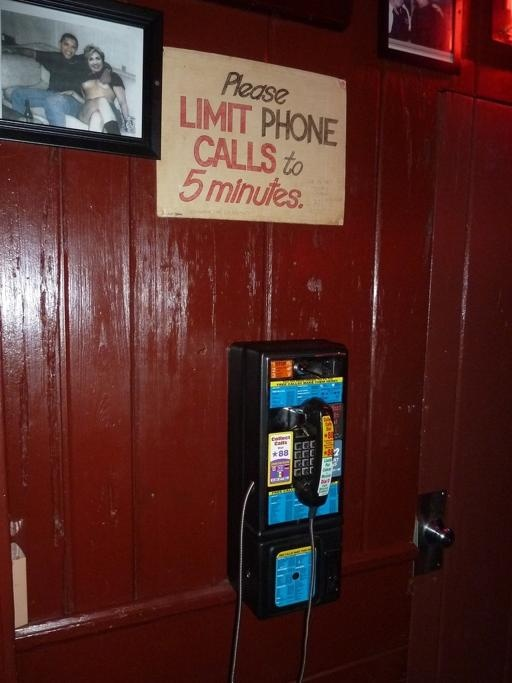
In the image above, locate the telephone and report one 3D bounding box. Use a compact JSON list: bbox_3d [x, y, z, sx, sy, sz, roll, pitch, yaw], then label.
[{"bbox_3d":[0.083,0.248,1.243,0.169,0.603,0.157,-7,25,-15],"label":"telephone"}]
